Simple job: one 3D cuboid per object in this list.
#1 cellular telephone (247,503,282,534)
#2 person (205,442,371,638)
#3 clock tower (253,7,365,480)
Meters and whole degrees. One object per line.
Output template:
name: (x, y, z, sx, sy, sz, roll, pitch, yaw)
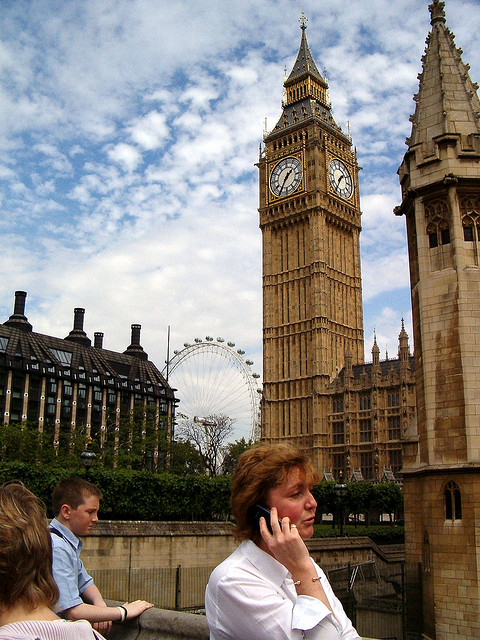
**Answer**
cellular telephone: (0.114, 0.979, 3.791, 0.040, 0.109, 0.144, -16, 25, -27)
person: (0.128, 1.041, 3.664, 0.613, 0.926, 0.659, -2, -14, -3)
clock tower: (6.875, -11.163, 78.842, 12.457, 54.127, 13.472, -4, -14, 4)
